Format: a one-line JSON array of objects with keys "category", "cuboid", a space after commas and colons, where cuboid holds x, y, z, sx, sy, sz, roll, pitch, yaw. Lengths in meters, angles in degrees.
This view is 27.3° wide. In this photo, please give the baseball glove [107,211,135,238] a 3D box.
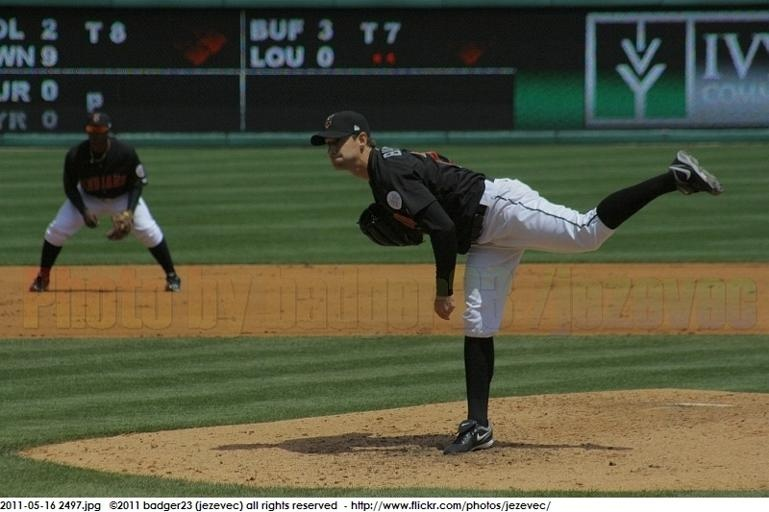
[{"category": "baseball glove", "cuboid": [-3.504, -0.389, 20.954, 0.272, 0.388, 0.425, 2, 8, 33]}]

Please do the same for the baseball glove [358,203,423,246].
[{"category": "baseball glove", "cuboid": [0.094, -0.305, 18.485, 0.713, 0.237, 0.468, 23, -30, -21]}]

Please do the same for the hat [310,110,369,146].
[{"category": "hat", "cuboid": [-0.513, -1.494, 18.392, 0.633, 0.260, 0.391, -3, 1, -11]}]

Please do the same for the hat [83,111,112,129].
[{"category": "hat", "cuboid": [-3.796, -1.783, 21.037, 0.275, 0.200, 0.319, -2, 7, -1]}]
